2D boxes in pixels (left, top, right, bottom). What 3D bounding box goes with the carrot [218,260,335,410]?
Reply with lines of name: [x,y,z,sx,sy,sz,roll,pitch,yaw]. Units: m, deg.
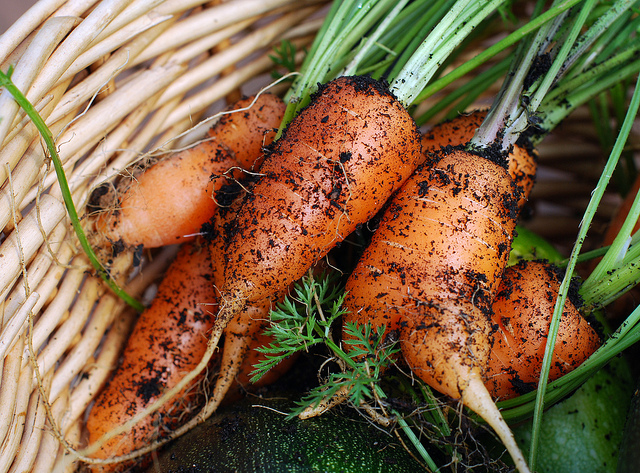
carrot: [-0.083,0.178,1.151,0.071,0.078,0.326,42,64,-6]
